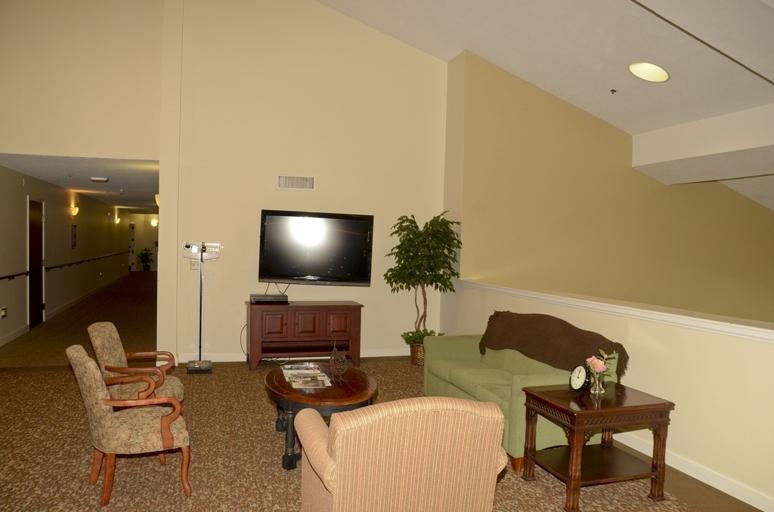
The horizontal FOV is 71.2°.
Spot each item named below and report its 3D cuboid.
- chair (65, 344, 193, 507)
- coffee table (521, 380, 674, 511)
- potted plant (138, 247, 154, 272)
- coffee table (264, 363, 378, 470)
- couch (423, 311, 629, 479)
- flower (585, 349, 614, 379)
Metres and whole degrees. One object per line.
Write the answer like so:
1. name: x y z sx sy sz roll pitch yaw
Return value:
1. chair: -2.643 1.681 6.074 1.396 2.030 1.393 -1 1 -24
2. coffee table: 2.093 1.894 5.481 1.245 1.091 0.823 0 5 -19
3. potted plant: -10.276 0.151 22.935 0.374 0.949 0.666 2 5 7
4. coffee table: -0.732 1.618 5.991 1.054 0.626 1.004 1 2 -6
5. couch: 1.491 1.988 6.438 1.433 1.641 2.512 2 -2 -15
6. flower: 2.234 1.171 5.616 0.213 0.312 0.567 5 5 33
